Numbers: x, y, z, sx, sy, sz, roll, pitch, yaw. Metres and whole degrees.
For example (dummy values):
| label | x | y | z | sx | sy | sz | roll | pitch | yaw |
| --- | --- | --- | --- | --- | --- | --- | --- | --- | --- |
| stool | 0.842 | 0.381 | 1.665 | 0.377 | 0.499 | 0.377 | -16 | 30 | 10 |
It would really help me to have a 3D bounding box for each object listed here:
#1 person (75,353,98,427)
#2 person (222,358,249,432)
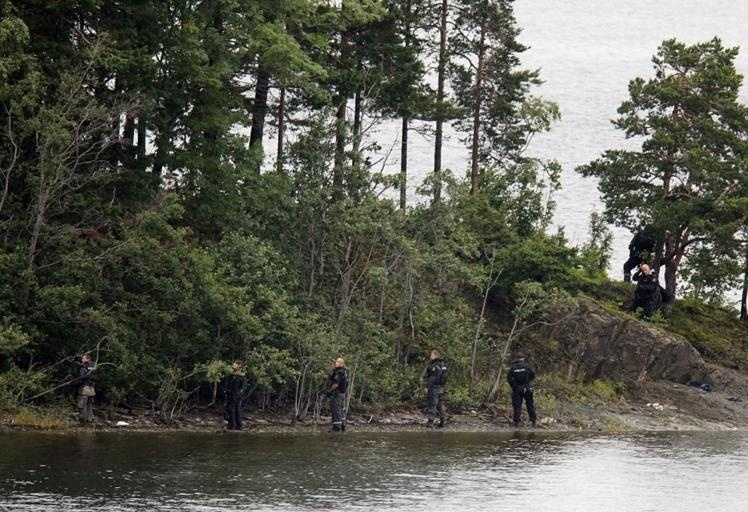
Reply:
| label | x | y | z | sx | sy | sz | roll | pitch | yaw |
| --- | --- | --- | --- | --- | --- | --- | --- | --- | --- |
| person | -11.880 | 5.496 | 74.323 | 0.695 | 2.928 | 0.928 | 3 | -2 | -8 |
| person | -5.893 | 5.871 | 75.969 | 0.818 | 2.915 | 1.563 | 3 | -2 | -5 |
